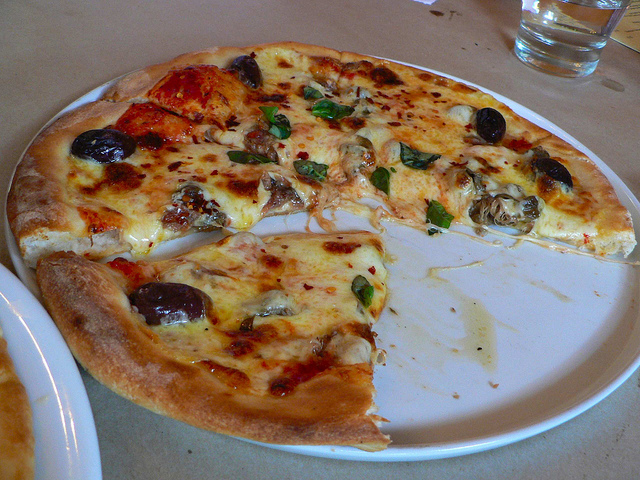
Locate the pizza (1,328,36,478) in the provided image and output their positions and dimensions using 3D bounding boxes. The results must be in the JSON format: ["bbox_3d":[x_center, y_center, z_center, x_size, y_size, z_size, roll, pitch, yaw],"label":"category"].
[{"bbox_3d":[-0.712,0.417,1.587,0.060,0.098,0.271,-18,81,-1],"label":"pizza"}]

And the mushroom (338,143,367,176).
[{"bbox_3d":[0.110,-0.304,2.553,0.113,0.046,0.106,1,64,8],"label":"mushroom"}]

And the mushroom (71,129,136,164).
[{"bbox_3d":[-0.737,-0.319,2.319,0.174,0.080,0.134,24,82,4],"label":"mushroom"}]

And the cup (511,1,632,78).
[{"bbox_3d":[1.220,-1.100,3.620,0.561,0.366,0.487,-12,44,-11],"label":"cup"}]

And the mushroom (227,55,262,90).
[{"bbox_3d":[-0.332,-0.687,2.809,0.153,0.046,0.122,46,46,11],"label":"mushroom"}]

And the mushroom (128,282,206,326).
[{"bbox_3d":[-0.444,0.153,1.974,0.259,0.069,0.165,5,41,-41],"label":"mushroom"}]

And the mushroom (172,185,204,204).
[{"bbox_3d":[-0.445,-0.150,2.265,0.073,0.035,0.082,27,82,5],"label":"mushroom"}]

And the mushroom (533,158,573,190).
[{"bbox_3d":[0.889,-0.261,2.612,0.142,0.037,0.116,27,27,-1],"label":"mushroom"}]

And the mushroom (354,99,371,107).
[{"bbox_3d":[0.174,-0.566,2.818,0.051,0.013,0.044,25,49,3],"label":"mushroom"}]

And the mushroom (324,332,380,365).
[{"bbox_3d":[0.081,0.312,1.932,0.127,0.062,0.091,18,82,4],"label":"mushroom"}]

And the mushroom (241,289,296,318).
[{"bbox_3d":[-0.154,0.187,2.098,0.225,0.163,0.060,-3,105,-7],"label":"mushroom"}]

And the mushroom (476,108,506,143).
[{"bbox_3d":[0.693,-0.462,2.800,0.138,0.048,0.131,-11,66,-6],"label":"mushroom"}]
